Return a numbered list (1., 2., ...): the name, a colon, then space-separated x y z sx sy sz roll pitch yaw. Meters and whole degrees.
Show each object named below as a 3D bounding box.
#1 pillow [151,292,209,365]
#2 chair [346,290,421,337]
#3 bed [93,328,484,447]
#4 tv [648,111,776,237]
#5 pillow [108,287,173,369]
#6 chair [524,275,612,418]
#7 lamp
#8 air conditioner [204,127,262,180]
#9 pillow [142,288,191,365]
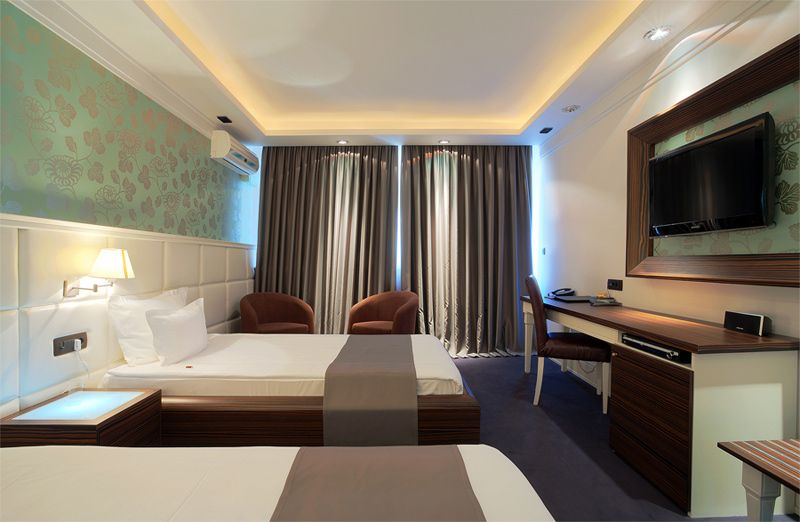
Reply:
1. pillow: -1.866 0.587 4.090 0.144 0.371 0.511 -20 -2 16
2. chair: -0.177 0.628 5.707 0.627 0.524 0.515 -5 -16 24
3. bed: -0.648 1.045 3.842 1.958 0.457 1.159 0 0 -6
4. tv: 2.449 -0.613 3.945 0.104 0.765 1.044 -3 -2 -17
5. pillow: -2.134 0.546 3.898 0.150 0.480 0.508 -25 -26 38
6. chair: 1.603 0.742 4.749 0.863 1.068 0.832 0 1 -1
7. lamp: -2.297 0.087 3.792 0.191 0.401 0.537 1 1 26
8. air conditioner: -1.917 -1.249 5.668 0.217 0.415 0.831 0 1 6
9. pillow: -1.989 0.491 4.108 0.114 0.446 0.440 -15 -10 24
